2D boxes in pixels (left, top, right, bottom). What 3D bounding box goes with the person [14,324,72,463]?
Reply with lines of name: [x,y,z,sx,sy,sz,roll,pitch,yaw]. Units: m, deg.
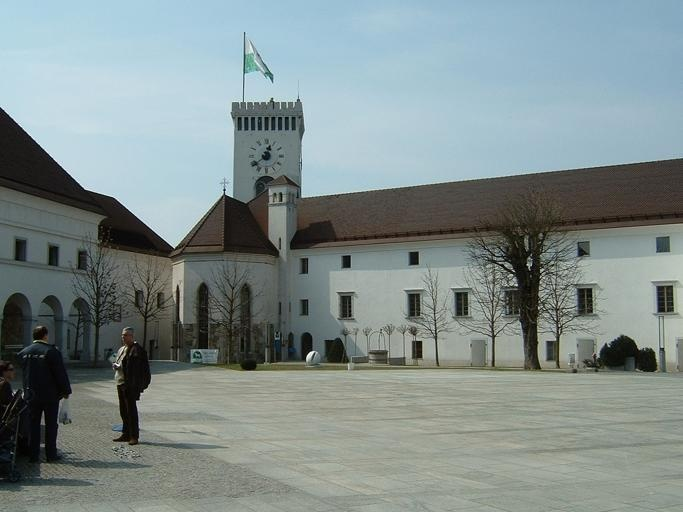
person: [-5.868,2.678,15.518,0.962,2.632,1.122,3,-9,-23]

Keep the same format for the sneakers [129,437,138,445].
sneakers: [-4.456,3.966,16.887,0.210,0.125,0.333,2,-10,-16]
